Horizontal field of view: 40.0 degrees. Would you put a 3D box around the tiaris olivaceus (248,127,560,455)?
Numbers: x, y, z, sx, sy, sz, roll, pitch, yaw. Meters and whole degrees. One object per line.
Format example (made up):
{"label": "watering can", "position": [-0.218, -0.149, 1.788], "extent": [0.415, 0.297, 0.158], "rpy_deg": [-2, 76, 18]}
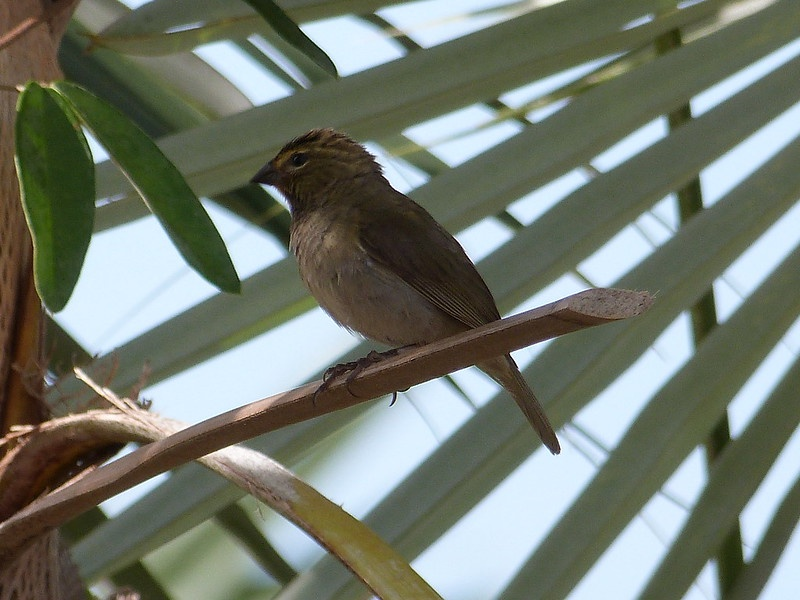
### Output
{"label": "tiaris olivaceus", "position": [0.034, -0.073, 3.743], "extent": [0.984, 0.927, 0.463], "rpy_deg": [6, -14, -12]}
